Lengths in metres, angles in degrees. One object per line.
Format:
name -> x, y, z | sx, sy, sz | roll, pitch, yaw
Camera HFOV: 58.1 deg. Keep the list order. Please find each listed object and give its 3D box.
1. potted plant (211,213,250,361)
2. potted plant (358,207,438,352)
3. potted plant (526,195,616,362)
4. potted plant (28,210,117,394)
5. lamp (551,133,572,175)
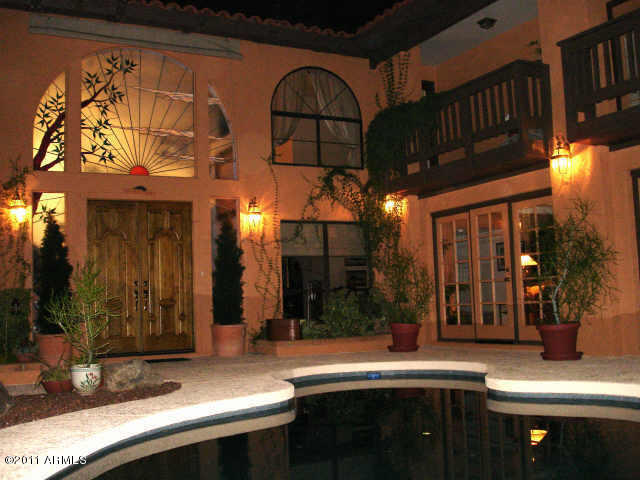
potted plant -> -1.749, 0.904, 11.213 | 0.671, 2.596, 0.745 | 0, -2, -11
potted plant -> 1.648, 0.497, 12.026 | 1.126, 2.426, 1.743 | 0, -2, -15
potted plant -> 4.101, 0.588, 9.289 | 1.124, 2.504, 1.475 | -1, -2, 22
potted plant -> -3.636, 0.796, 8.941 | 1.415, 2.513, 3.944 | 1, -2, -27
lamp -> 4.004, -1.404, 9.599 | 0.332, 0.665, 0.194 | -1, -2, 26
